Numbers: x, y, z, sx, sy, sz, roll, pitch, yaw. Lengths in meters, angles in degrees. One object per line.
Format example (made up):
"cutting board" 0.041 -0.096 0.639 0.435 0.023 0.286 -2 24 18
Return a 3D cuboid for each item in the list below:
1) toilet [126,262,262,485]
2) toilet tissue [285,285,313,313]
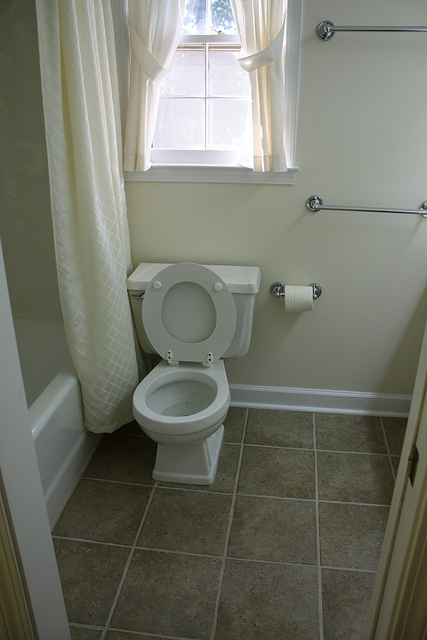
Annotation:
"toilet" -0.100 0.217 1.844 0.450 0.829 0.680 1 22 4
"toilet tissue" 0.374 -0.093 1.967 0.087 0.108 0.034 0 -2 1
